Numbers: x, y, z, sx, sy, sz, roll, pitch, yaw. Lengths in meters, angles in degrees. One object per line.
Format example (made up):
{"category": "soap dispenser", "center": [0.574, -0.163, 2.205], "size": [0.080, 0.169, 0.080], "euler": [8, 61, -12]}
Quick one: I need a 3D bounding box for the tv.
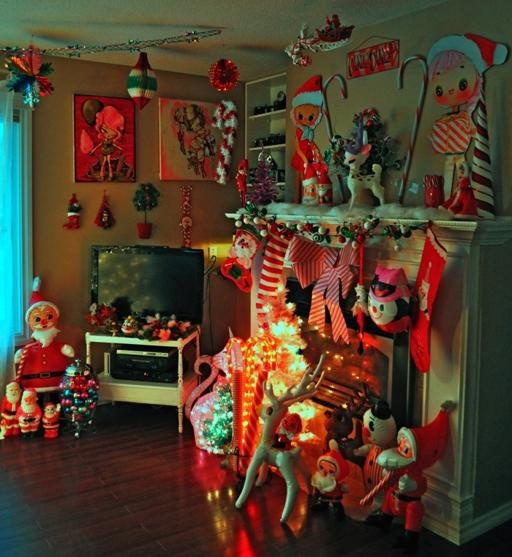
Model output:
{"category": "tv", "center": [-0.809, 0.063, 3.890], "size": [0.988, 0.585, 0.083], "euler": [3, 6, 23]}

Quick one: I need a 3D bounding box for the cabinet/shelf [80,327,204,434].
{"category": "cabinet/shelf", "center": [-0.817, 0.732, 3.851], "size": [0.842, 0.582, 0.640], "euler": [2, -4, 1]}
